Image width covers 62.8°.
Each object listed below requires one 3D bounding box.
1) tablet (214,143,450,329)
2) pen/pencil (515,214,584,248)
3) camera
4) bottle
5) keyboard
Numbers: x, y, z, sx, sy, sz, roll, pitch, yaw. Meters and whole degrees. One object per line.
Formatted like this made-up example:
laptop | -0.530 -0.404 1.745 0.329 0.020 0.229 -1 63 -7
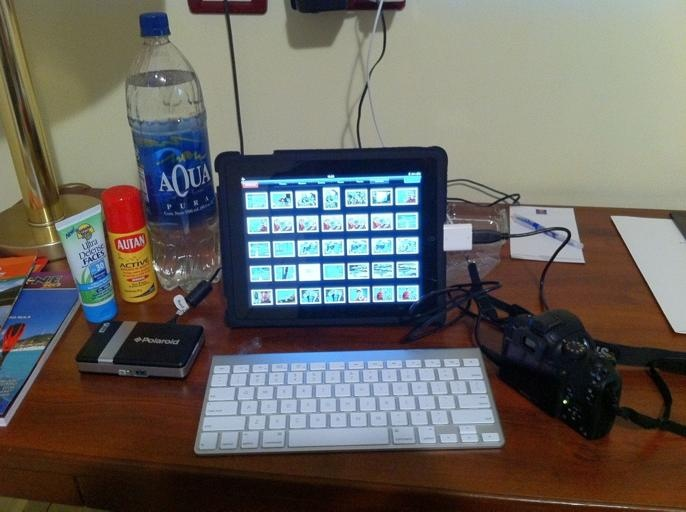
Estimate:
tablet | -0.023 -0.066 0.991 0.414 0.283 0.291 1 28 -6
pen/pencil | 0.417 -0.051 1.133 0.016 0.013 0.107 -26 44 -26
camera | 0.305 0.175 0.798 0.072 0.109 0.129 -19 35 -29
bottle | -0.296 -0.145 1.080 0.161 0.584 0.185 -4 32 -12
keyboard | 0.015 0.208 0.829 0.435 0.018 0.183 -1 43 -6
